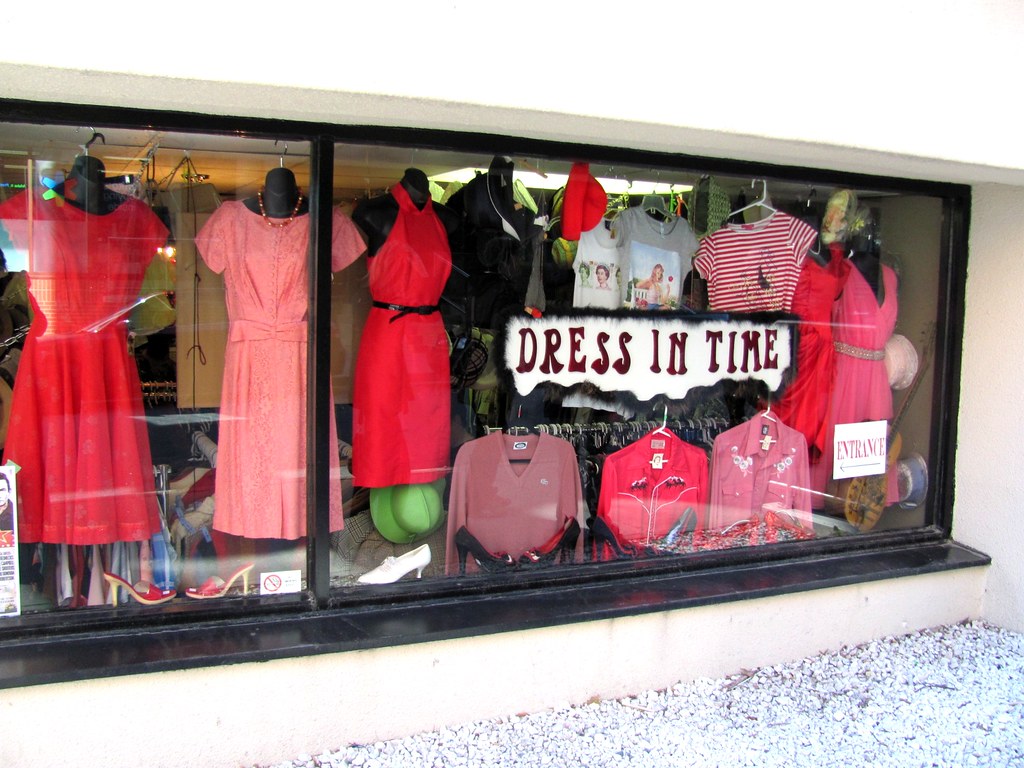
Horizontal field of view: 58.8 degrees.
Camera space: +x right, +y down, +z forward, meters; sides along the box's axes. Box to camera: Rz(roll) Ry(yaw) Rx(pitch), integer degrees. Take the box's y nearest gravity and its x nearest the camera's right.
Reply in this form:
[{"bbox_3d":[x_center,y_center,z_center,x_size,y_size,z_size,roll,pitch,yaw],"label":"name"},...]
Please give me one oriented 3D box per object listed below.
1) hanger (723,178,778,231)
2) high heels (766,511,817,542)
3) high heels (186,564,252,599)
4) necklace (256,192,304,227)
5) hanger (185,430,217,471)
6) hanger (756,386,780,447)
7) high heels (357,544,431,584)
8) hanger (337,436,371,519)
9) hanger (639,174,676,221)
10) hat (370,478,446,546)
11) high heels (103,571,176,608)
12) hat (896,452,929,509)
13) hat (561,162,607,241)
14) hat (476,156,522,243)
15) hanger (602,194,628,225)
[{"bbox_3d":[1.101,-0.848,4.298,0.188,0.368,0.200,-3,24,-3],"label":"hanger"},{"bbox_3d":[1.343,0.671,4.357,0.230,0.123,0.079,-2,5,-13],"label":"high heels"},{"bbox_3d":[-1.160,0.791,3.633,0.181,0.092,0.110,1,-3,-10],"label":"high heels"},{"bbox_3d":[-0.889,-0.678,3.580,0.106,0.154,0.052,-1,35,-6],"label":"necklace"},{"bbox_3d":[-1.226,0.251,3.677,0.060,0.195,0.130,-17,-1,5],"label":"hanger"},{"bbox_3d":[1.226,0.160,4.354,0.114,0.288,0.015,-2,5,-20],"label":"hanger"},{"bbox_3d":[-0.481,0.737,3.819,0.315,0.145,0.109,-5,6,-25],"label":"high heels"},{"bbox_3d":[-0.622,0.410,3.757,0.071,0.260,0.183,3,2,-2],"label":"hanger"},{"bbox_3d":[0.642,-0.837,4.050,0.194,0.210,0.014,-3,38,-4],"label":"hanger"},{"bbox_3d":[-0.444,0.545,3.879,0.211,0.300,0.119,-6,0,-23],"label":"hat"},{"bbox_3d":[-1.460,0.812,3.545,0.225,0.108,0.125,-1,0,-18],"label":"high heels"},{"bbox_3d":[1.996,0.476,4.530,0.104,0.222,0.209,-2,-17,-17],"label":"hat"},{"bbox_3d":[0.318,-0.782,3.936,0.220,0.324,0.135,-2,5,-17],"label":"hat"},{"bbox_3d":[-0.050,-0.763,3.789,0.097,0.341,0.126,-10,12,-28],"label":"hat"},{"bbox_3d":[0.463,-0.772,4.025,0.112,0.113,0.045,-33,26,-16],"label":"hanger"}]
